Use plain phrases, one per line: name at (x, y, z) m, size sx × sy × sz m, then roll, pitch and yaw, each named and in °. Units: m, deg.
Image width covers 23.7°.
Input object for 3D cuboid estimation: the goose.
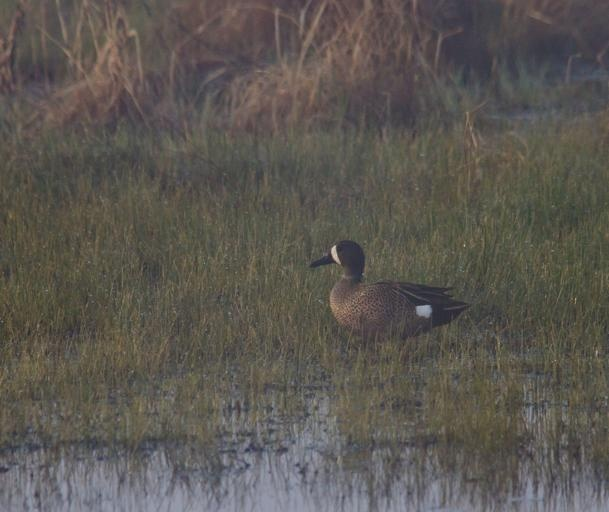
goose at (0.658, 0.280, 10.994) m, size 1.123 × 1.113 × 0.562 m, roll 1°, pitch -5°, yaw 7°
